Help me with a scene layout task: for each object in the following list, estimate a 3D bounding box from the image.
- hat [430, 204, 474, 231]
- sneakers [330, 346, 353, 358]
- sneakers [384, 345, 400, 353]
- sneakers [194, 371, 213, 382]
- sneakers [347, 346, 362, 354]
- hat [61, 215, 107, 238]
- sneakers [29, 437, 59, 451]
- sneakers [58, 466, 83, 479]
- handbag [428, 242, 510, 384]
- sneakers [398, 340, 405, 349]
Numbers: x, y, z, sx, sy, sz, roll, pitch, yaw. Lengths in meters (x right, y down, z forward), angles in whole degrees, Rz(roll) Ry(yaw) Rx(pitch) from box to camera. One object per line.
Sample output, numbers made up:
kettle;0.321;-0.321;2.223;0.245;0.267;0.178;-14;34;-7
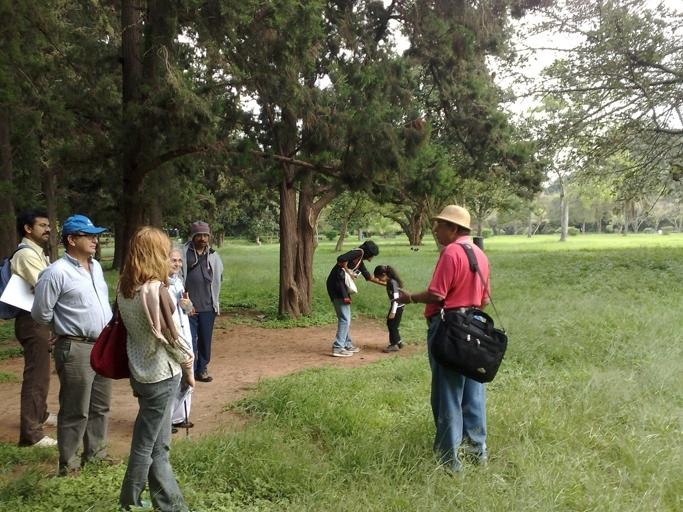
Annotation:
hat;1.434;-0.499;7.963;0.350;0.148;0.323;24;-1;-15
sneakers;0.006;1.868;12.510;0.387;0.208;0.163;1;-2;-8
sneakers;1.037;1.862;13.049;0.328;0.160;0.123;-1;-5;-43
sneakers;-2.279;1.973;10.601;0.272;0.144;0.125;-2;1;25
sneakers;0.252;1.859;12.794;0.252;0.123;0.115;-2;0;7
hat;-3.164;-0.376;7.786;0.454;0.274;0.312;1;4;-20
sneakers;-3.818;2.394;8.195;0.235;0.110;0.129;-2;-3;0
sneakers;-3.197;2.498;7.482;0.143;0.104;0.155;-2;-3;20
handbag;1.522;1.029;7.613;0.872;0.802;0.519;1;10;9
sneakers;1.228;1.802;13.170;0.138;0.234;0.133;-1;3;-13
